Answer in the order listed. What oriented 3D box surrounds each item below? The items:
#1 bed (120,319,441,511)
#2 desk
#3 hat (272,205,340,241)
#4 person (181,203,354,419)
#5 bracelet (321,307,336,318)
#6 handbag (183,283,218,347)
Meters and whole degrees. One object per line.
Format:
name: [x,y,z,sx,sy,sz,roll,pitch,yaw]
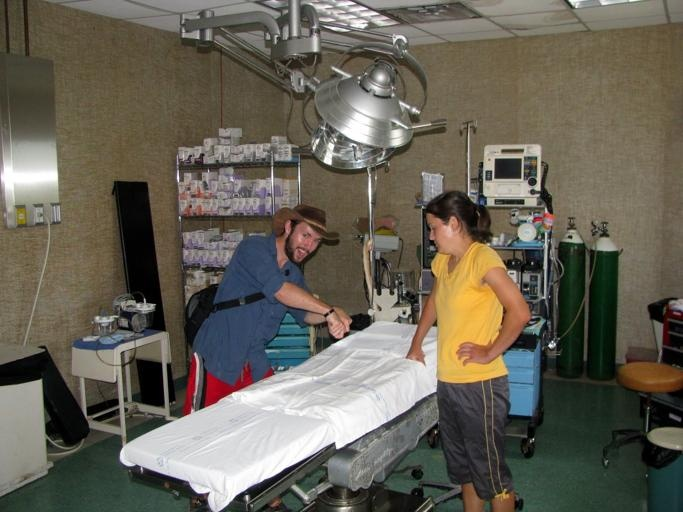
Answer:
bed: [-0.154,0.485,3.109,0.771,0.269,1.639,11,21,40]
desk: [-1.919,1.112,5.522,0.876,1.179,0.900,1,3,25]
hat: [-0.237,-0.262,3.643,0.271,0.115,0.258,15,-22,20]
person: [-0.512,0.371,4.467,1.320,1.933,0.916,4,-2,17]
bracelet: [-0.074,0.320,3.392,0.066,0.053,0.037,-3,6,-5]
handbag: [-0.854,0.381,3.866,0.089,0.367,0.256,19,-18,-39]
